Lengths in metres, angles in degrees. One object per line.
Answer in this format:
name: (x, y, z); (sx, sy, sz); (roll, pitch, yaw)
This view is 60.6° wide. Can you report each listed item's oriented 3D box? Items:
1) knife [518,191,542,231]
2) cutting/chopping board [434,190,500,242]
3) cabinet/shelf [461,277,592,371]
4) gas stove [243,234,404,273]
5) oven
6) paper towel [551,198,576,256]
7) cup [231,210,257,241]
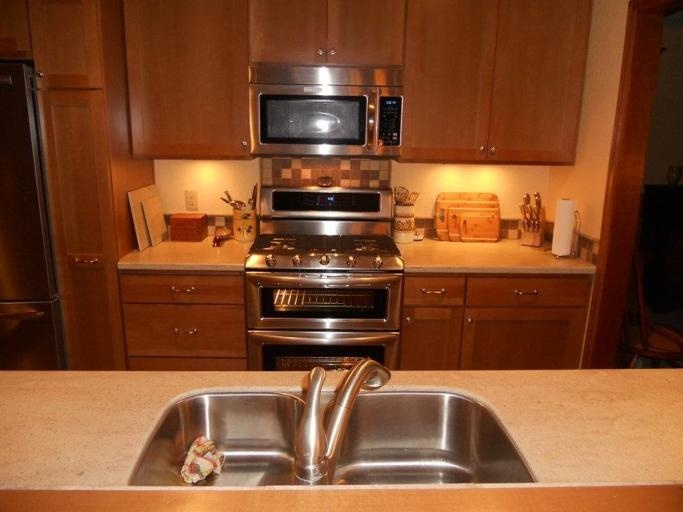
knife: (1.220, -0.299, 3.736); (0.145, 0.247, 0.335); (5, 15, 17)
cutting/chopping board: (0.813, -0.249, 3.768); (0.314, 0.247, 0.035); (2, 4, 2)
cabinet/shelf: (1.042, 0.378, 3.539); (0.715, 0.699, 0.466); (1, 21, 6)
gas stove: (-0.095, -0.015, 3.388); (0.867, 0.110, 0.484); (0, 14, -1)
oven: (-0.103, 0.184, 3.362); (0.838, 0.842, 0.555); (0, 6, -2)
paper towel: (1.302, -0.158, 3.413); (0.104, 0.339, 0.065); (3, 15, 11)
cup: (-0.604, -0.194, 3.646); (0.153, 0.187, 0.188); (0, 3, -9)
